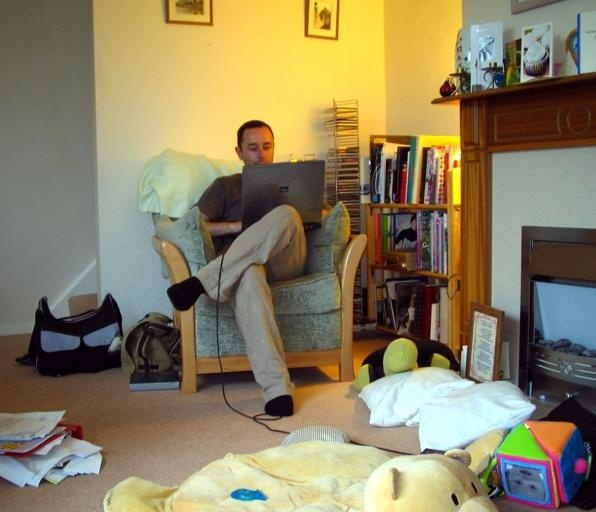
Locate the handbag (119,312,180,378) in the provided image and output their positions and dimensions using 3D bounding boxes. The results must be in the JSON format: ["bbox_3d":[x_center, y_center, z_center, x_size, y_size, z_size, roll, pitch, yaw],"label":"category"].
[{"bbox_3d":[-0.747,0.437,2.603,0.286,0.325,0.260,2,-4,1],"label":"handbag"}]

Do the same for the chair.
[{"bbox_3d":[-0.247,0.112,2.653,0.802,1.095,0.957,0,-3,-14],"label":"chair"}]

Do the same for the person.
[{"bbox_3d":[-0.222,-0.021,2.522,0.655,1.266,1.081,-2,9,0],"label":"person"}]

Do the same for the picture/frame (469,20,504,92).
[{"bbox_3d":[0.806,-0.851,2.208,0.133,0.272,0.135,1,9,21],"label":"picture/frame"}]

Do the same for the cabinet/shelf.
[{"bbox_3d":[0.689,0.106,3.036,0.252,0.844,0.817,1,-1,-22],"label":"cabinet/shelf"}]

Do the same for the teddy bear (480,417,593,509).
[{"bbox_3d":[0.648,0.557,1.383,0.203,0.220,0.216,0,4,36],"label":"teddy bear"}]

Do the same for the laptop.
[{"bbox_3d":[-0.096,-0.332,2.515,0.387,0.424,0.325,-1,30,-10],"label":"laptop"}]
